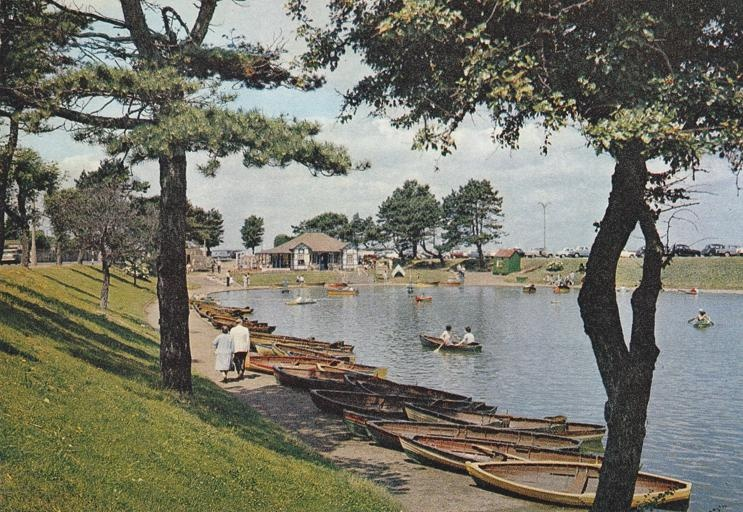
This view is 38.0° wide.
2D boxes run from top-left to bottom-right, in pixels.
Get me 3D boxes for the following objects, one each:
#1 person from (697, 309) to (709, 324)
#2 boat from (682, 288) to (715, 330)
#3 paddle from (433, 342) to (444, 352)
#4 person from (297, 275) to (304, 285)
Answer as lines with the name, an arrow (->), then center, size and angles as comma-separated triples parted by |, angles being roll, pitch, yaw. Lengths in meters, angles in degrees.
person -> 24.674, 4.531, 80.687 | 0.665, 1.412, 0.946 | 0, 12, 25
boat -> 27.988, 4.633, 92.889 | 2.506, 2.891, 2.742 | -1, 0, 17
paddle -> 4.090, 5.462, 64.772 | 0.241, 0.168, 0.911 | 31, 40, 26
person -> -9.032, 3.073, 136.567 | 0.843, 0.880, 1.049 | 8, 26, 8
